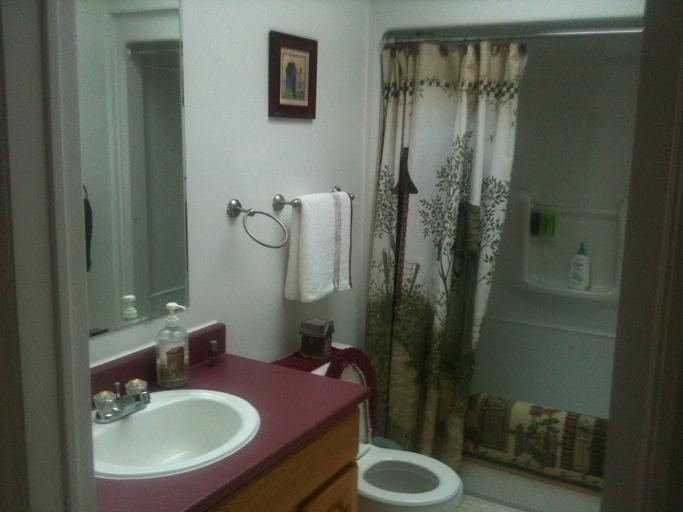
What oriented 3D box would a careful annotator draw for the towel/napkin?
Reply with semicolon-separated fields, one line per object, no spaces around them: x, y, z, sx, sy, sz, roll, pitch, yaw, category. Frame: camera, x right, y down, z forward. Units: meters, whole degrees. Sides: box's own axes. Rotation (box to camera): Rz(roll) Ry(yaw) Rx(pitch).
-0.090;-0.040;2.212;0.156;0.465;0.348;5;9;32;towel/napkin

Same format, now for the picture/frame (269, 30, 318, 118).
-0.170;-0.639;2.170;0.021;0.279;0.266;6;11;30;picture/frame

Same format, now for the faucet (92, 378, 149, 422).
-0.546;0.360;1.522;0.075;0.063;0.138;5;9;24;faucet

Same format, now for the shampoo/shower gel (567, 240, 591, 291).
1.117;0.047;2.830;0.096;0.210;0.124;9;14;21;shampoo/shower gel
